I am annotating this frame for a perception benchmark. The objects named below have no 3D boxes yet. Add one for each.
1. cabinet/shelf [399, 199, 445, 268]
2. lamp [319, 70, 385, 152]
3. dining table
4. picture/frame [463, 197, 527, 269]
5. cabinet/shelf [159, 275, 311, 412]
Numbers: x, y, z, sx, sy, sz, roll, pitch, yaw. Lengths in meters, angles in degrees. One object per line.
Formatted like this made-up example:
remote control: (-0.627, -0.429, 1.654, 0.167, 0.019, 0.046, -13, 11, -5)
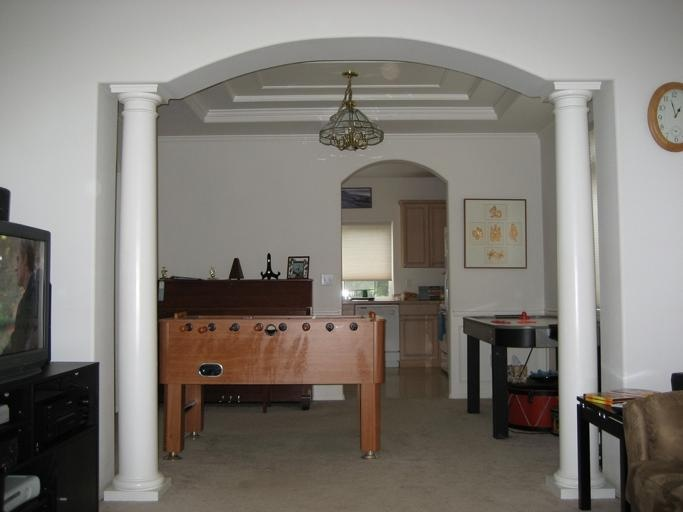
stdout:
cabinet/shelf: (1.451, -0.345, 8.969, 1.006, 1.092, 0.382, 1, 4, 31)
lamp: (0.086, -1.386, 5.356, 0.604, 0.714, 0.620, -1, 4, -10)
dining table: (1.519, 1.060, 5.139, 0.667, 1.015, 0.973, 0, 1, 4)
picture/frame: (1.716, -0.224, 6.356, 0.748, 0.852, 0.032, 1, -4, -2)
cabinet/shelf: (-1.123, 1.156, 6.340, 1.743, 1.431, 1.255, 0, 8, -1)
